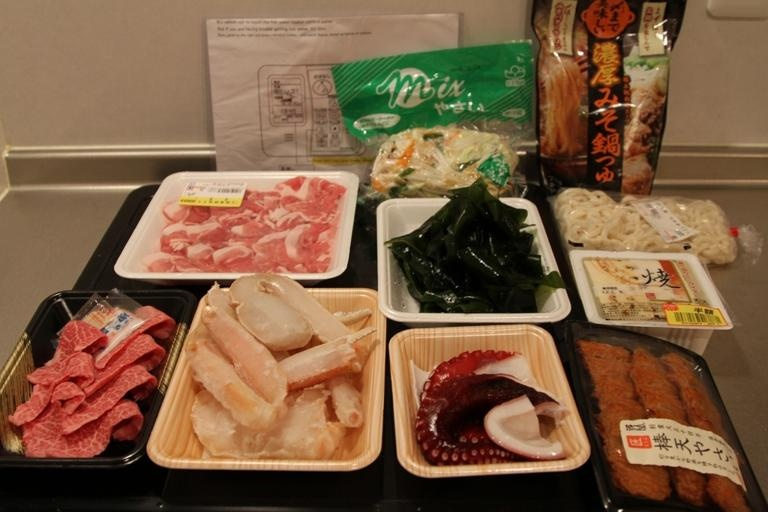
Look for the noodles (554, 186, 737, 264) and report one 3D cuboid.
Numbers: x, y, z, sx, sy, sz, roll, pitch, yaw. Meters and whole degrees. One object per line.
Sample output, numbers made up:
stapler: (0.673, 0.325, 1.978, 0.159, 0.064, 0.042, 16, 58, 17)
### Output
noodles: (0.871, -0.104, 1.864, 0.575, 0.153, 0.282, 2, 47, 11)
